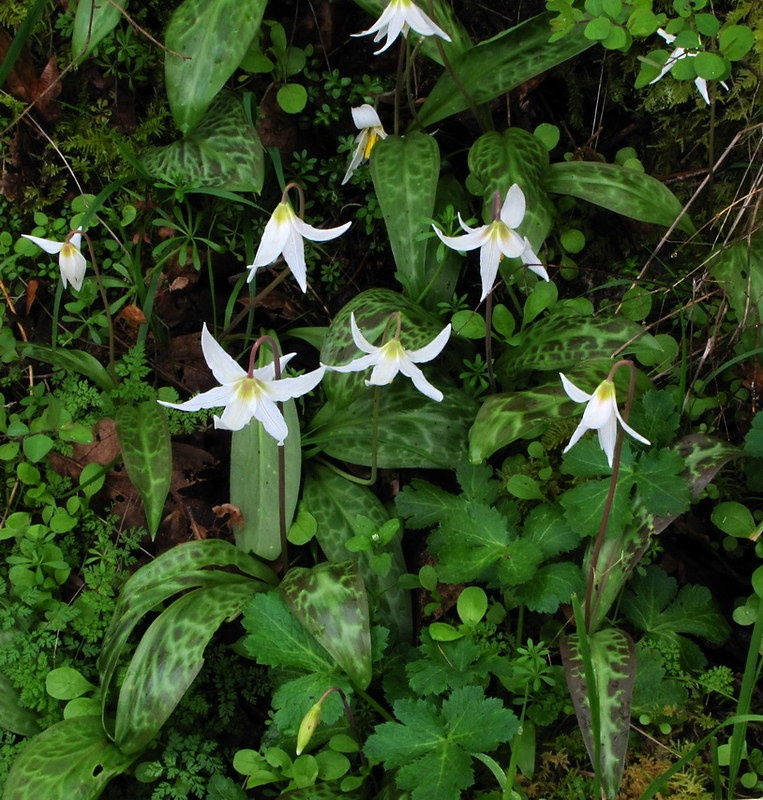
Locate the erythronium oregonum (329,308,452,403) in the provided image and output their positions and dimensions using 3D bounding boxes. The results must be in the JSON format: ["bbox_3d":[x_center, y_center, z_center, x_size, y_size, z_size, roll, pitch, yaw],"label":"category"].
[{"bbox_3d":[0.037,-0.110,2.230,0.318,0.161,0.301,-11,50,-15],"label":"erythronium oregonum"}]

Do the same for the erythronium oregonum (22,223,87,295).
[{"bbox_3d":[-1.087,-0.539,2.724,0.270,0.167,0.257,-4,81,-6],"label":"erythronium oregonum"}]

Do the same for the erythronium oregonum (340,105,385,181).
[{"bbox_3d":[-0.065,-1.001,3.011,0.235,0.234,0.223,8,17,1],"label":"erythronium oregonum"}]

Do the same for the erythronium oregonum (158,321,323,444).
[{"bbox_3d":[-0.375,-0.041,2.095,0.417,0.154,0.477,3,31,8],"label":"erythronium oregonum"}]
